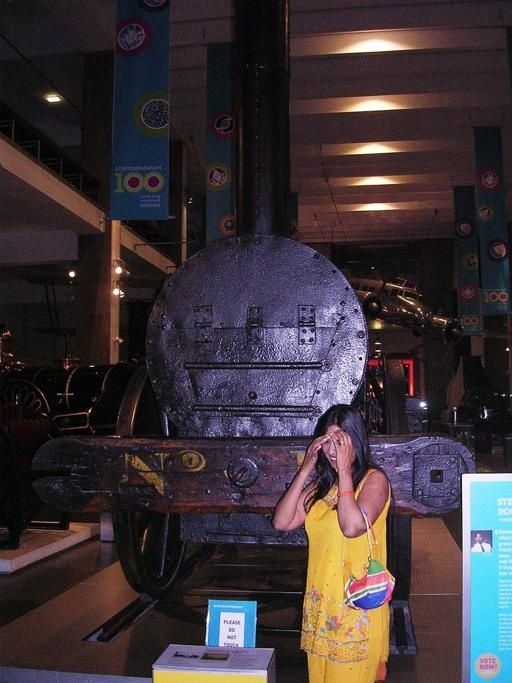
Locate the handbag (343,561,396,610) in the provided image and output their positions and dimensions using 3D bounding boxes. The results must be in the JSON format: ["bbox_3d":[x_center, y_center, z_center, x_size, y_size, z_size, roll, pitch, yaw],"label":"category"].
[{"bbox_3d":[0.356,0.792,2.095,0.173,0.165,0.114,3,-7,43],"label":"handbag"}]

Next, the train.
[{"bbox_3d":[0.061,0.555,4.107,1.860,1.875,3.114,0,-7,3],"label":"train"}]

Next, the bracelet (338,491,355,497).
[{"bbox_3d":[0.294,0.498,2.084,0.046,0.024,0.026,0,-7,1],"label":"bracelet"}]
